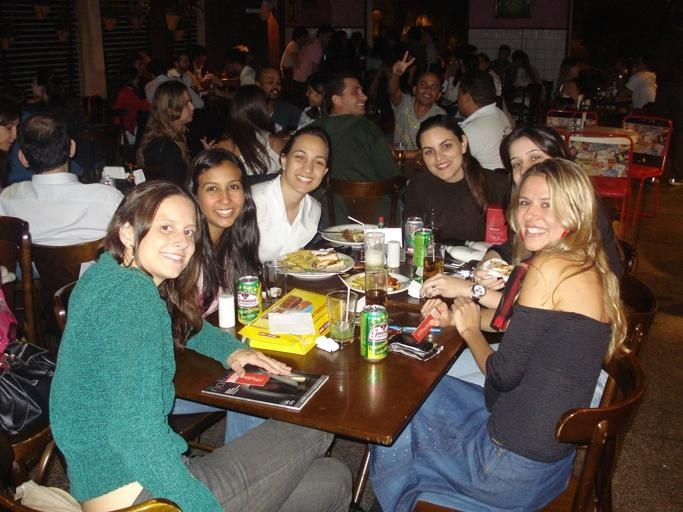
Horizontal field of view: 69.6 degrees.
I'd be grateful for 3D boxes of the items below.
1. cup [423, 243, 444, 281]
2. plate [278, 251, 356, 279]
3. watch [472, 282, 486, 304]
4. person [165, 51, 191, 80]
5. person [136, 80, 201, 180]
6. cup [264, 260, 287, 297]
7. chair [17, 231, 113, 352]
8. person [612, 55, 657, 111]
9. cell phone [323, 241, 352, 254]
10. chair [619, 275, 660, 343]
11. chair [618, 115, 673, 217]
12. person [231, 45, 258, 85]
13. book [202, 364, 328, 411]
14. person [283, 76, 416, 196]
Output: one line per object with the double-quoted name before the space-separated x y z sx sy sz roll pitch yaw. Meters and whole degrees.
"cup" 0.446 0.026 2.419 0.110 0.183 0.113 -1 12 0
"plate" -0.130 0.041 2.416 0.209 0.040 0.208 12 22 22
"watch" 0.619 0.165 2.245 0.053 0.075 0.077 19 57 23
"person" -2.927 -3.423 8.815 0.328 0.615 1.126 -3 12 -17
"person" -1.707 -1.218 4.720 0.561 0.987 0.977 -3 12 -17
"cup" -0.296 0.113 2.214 0.139 0.155 0.135 5 15 -1
"chair" -1.607 0.076 2.824 0.429 0.675 0.429 0 43 -28
"person" 4.622 -2.736 7.695 0.587 0.919 1.399 6 13 28
"cell phone" -0.016 -0.043 2.751 0.080 0.031 0.080 13 22 18
"chair" 1.339 0.203 2.166 0.155 0.179 0.125 9 12 3
"chair" 3.385 -1.046 5.775 0.750 1.058 0.692 -28 30 -34
"person" -1.746 -3.377 8.685 0.378 0.870 1.538 -2 11 -12
"book" -0.236 0.429 1.581 0.197 0.132 0.195 3 -24 16
"person" 0.063 -1.129 4.257 1.006 0.852 0.549 23 45 39
